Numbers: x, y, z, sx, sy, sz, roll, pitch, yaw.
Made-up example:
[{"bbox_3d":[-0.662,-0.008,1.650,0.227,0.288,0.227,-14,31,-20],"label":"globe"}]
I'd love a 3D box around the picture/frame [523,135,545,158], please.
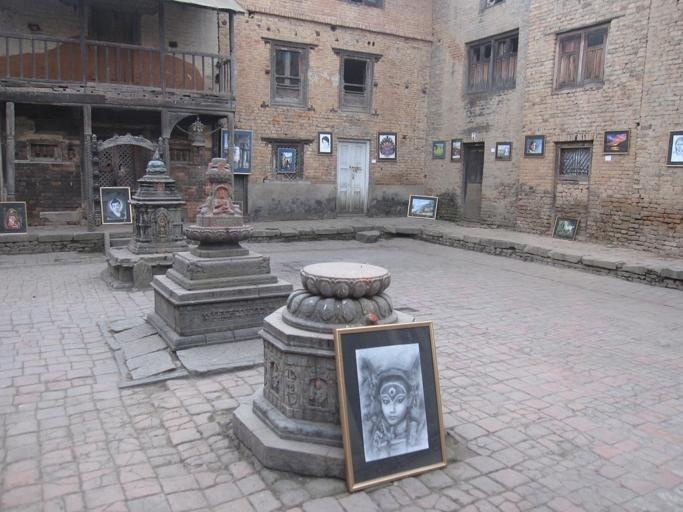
[{"bbox_3d":[5.424,-3.078,13.743,0.048,0.650,0.628,-2,9,-30],"label":"picture/frame"}]

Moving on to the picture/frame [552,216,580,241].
[{"bbox_3d":[6.055,-0.749,13.175,0.082,0.625,0.586,11,0,-39],"label":"picture/frame"}]

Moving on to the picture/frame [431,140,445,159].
[{"bbox_3d":[3.461,-3.785,17.402,0.057,0.737,0.700,1,3,-35],"label":"picture/frame"}]

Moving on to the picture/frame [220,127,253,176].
[{"bbox_3d":[-3.133,-3.215,15.096,0.385,1.365,1.144,8,16,30],"label":"picture/frame"}]
